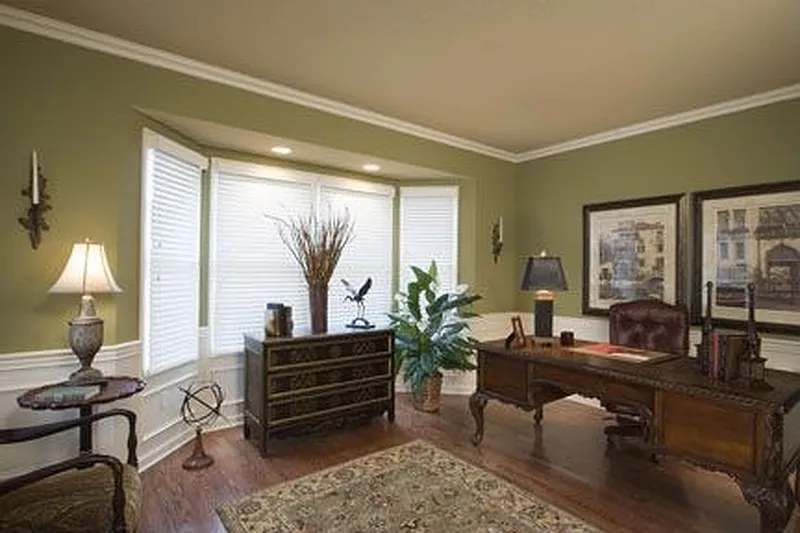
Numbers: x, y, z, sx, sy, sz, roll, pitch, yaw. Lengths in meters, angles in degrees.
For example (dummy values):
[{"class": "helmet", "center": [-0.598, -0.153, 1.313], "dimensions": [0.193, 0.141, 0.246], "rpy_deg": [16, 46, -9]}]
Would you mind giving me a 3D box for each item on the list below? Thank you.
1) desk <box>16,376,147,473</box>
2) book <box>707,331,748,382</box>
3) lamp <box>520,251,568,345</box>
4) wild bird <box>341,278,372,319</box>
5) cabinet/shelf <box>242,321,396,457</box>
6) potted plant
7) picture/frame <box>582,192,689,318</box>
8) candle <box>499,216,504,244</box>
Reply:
[{"class": "desk", "center": [-2.397, 1.086, 3.978], "dimensions": [0.703, 0.469, 0.667], "rpy_deg": [3, 8, 9]}, {"class": "book", "center": [2.426, 0.674, 3.873], "dimensions": [0.237, 0.333, 0.140], "rpy_deg": [8, 15, 31]}, {"class": "lamp", "center": [1.371, 0.311, 4.914], "dimensions": [0.509, 0.858, 0.483], "rpy_deg": [-1, 2, -5]}, {"class": "wild bird", "center": [-0.529, 0.367, 5.962], "dimensions": [0.493, 0.451, 0.284], "rpy_deg": [-5, -4, 44]}, {"class": "cabinet/shelf", "center": [-0.818, 1.203, 5.347], "dimensions": [1.523, 1.017, 0.538], "rpy_deg": [0, 0, -38]}, {"class": "potted plant", "center": [0.382, 0.752, 6.007], "dimensions": [1.034, 1.613, 1.230], "rpy_deg": [2, 13, 8]}, {"class": "picture/frame", "center": [2.601, -0.124, 5.626], "dimensions": [1.505, 1.654, 0.090], "rpy_deg": [-2, -4, 45]}, {"class": "candle", "center": [1.304, -0.470, 6.670], "dimensions": [0.054, 0.313, 0.129], "rpy_deg": [2, 13, 10]}]
